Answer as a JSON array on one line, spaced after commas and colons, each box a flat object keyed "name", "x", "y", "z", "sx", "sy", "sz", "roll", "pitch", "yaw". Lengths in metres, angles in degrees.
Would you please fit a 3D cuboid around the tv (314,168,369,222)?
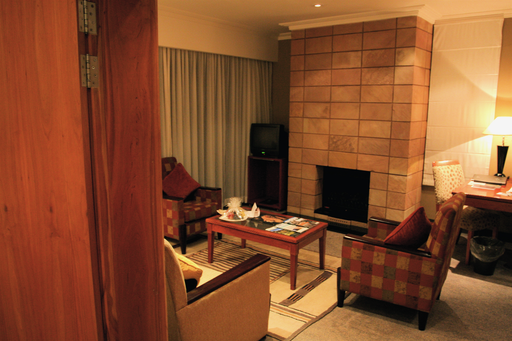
[{"name": "tv", "x": 1.335, "y": 0.380, "z": 5.915, "sx": 0.764, "sy": 0.724, "sz": 0.400, "roll": 5, "pitch": 5, "yaw": 37}]

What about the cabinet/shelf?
[{"name": "cabinet/shelf", "x": 0.174, "y": 0.203, "z": 6.518, "sx": 0.853, "sy": 1.025, "sz": 0.588, "roll": 4, "pitch": 5, "yaw": 34}]

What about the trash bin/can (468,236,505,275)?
[{"name": "trash bin/can", "x": 2.508, "y": 0.942, "z": 4.217, "sx": 0.307, "sy": 0.411, "sz": 0.233, "roll": 8, "pitch": 17, "yaw": 29}]

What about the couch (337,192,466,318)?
[{"name": "couch", "x": 1.386, "y": 0.630, "z": 3.828, "sx": 1.129, "sy": 1.237, "sz": 0.908, "roll": 7, "pitch": 10, "yaw": 30}]

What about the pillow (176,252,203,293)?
[{"name": "pillow", "x": -0.458, "y": 0.690, "z": 2.645, "sx": 0.126, "sy": 0.315, "sz": 0.197, "roll": 3, "pitch": 15, "yaw": 11}]
